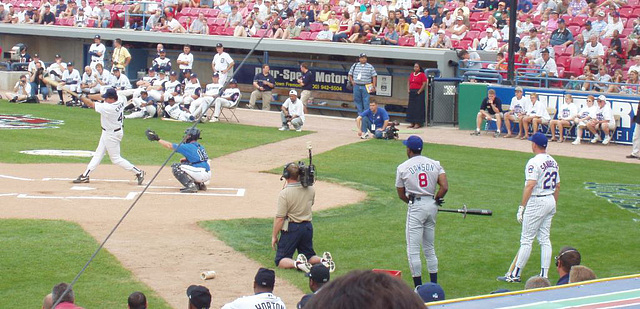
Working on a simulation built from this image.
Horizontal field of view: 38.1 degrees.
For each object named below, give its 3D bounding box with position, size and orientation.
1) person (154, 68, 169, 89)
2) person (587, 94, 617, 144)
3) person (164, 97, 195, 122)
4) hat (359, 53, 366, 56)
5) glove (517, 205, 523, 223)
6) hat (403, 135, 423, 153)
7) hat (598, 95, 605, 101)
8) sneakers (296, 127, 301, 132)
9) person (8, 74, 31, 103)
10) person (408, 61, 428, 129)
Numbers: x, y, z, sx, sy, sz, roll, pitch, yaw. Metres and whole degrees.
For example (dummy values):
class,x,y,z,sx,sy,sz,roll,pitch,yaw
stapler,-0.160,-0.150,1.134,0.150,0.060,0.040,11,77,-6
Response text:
class,x,y,z,sx,sy,sz,roll,pitch,yaw
person,-8.503,-4.013,49.040,0.810,0.946,0.437,15,-19,37
person,13.593,-1.654,44.387,1.234,2.335,0.835,2,6,-29
person,-7.327,-2.368,48.064,1.462,0.526,0.432,15,-11,21
hat,2.208,-5.175,47.701,0.222,0.141,0.319,0,11,-13
glove,7.165,2.103,33.129,0.281,0.548,0.460,10,2,10
hat,3.299,-0.378,32.999,0.648,0.572,0.520,4,5,3
hat,13.391,-2.715,43.970,0.349,0.130,0.459,7,4,16
sneakers,-1.074,-1.249,46.241,0.210,0.188,0.223,0,7,-1
person,-17.081,-3.704,52.438,1.330,1.517,1.062,20,21,-24
person,4.988,-2.993,47.289,0.942,3.271,0.791,5,5,-1
